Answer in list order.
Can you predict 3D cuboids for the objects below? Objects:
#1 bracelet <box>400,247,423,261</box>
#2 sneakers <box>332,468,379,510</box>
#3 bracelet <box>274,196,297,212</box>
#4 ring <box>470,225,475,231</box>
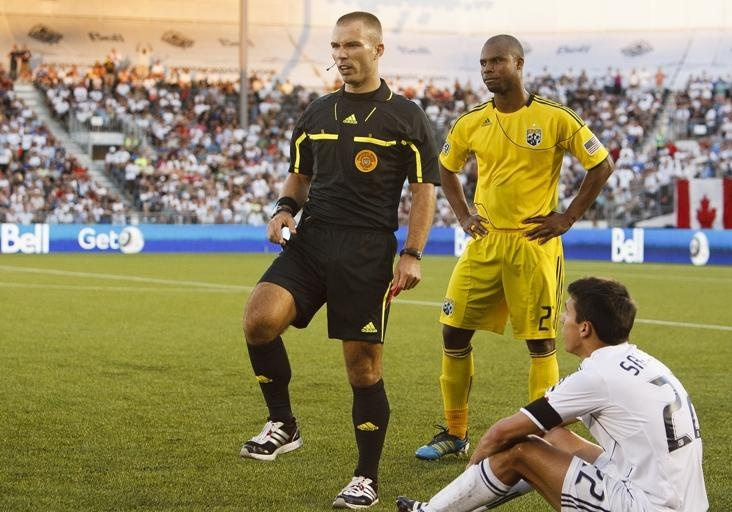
[{"bbox_3d":[0.423,-0.024,9.641,0.190,0.140,0.253,1,10,-3],"label":"bracelet"},{"bbox_3d":[-0.103,2.194,9.348,0.210,0.205,0.433,-7,-16,36],"label":"sneakers"},{"bbox_3d":[-0.768,-0.501,9.749,0.150,0.120,0.156,-2,14,-8],"label":"bracelet"},{"bbox_3d":[1.061,-0.281,10.112,0.032,0.048,0.014,-1,-16,12],"label":"ring"}]
